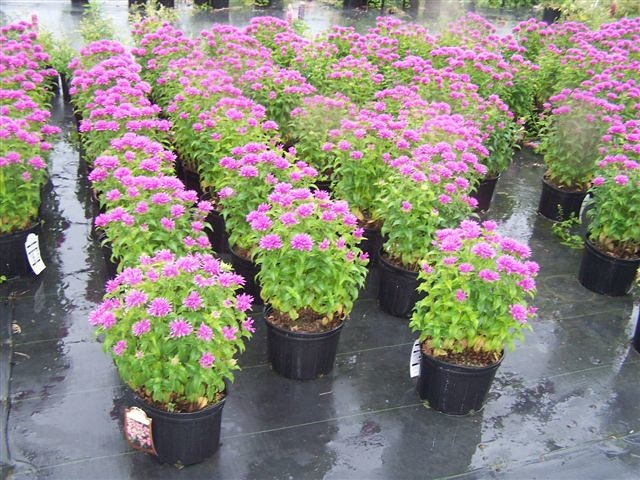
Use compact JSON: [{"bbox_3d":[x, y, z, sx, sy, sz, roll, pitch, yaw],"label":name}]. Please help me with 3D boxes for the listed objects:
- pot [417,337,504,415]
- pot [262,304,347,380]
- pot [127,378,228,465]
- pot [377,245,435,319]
[{"bbox_3d":[1.213,1.159,4.551,0.708,0.389,0.645,2,9,0],"label":"pot"},{"bbox_3d":[-0.157,0.886,4.748,0.796,0.381,0.641,5,17,-2],"label":"pot"},{"bbox_3d":[-0.970,1.342,3.913,0.761,0.415,0.573,13,31,15],"label":"pot"},{"bbox_3d":[0.779,0.430,5.394,0.686,0.450,0.609,2,28,0],"label":"pot"}]
